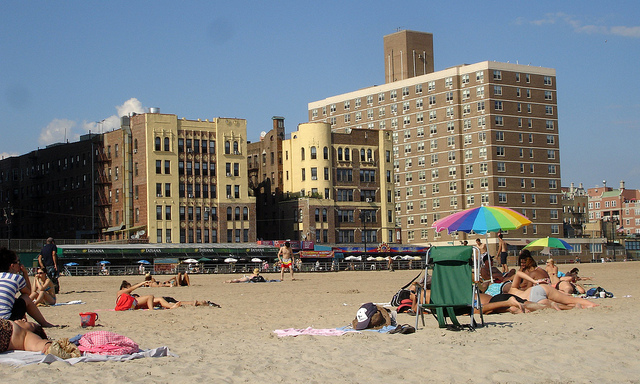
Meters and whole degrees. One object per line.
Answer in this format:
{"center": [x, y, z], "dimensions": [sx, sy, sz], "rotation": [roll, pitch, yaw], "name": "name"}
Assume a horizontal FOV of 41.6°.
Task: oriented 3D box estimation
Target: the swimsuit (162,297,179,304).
{"center": [-6.110, 4.406, 34.477], "dimensions": [0.476, 0.247, 1.069], "rotation": [-2, -7, -6], "name": "swimsuit"}

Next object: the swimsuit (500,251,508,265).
{"center": [9.162, 3.276, 41.940], "dimensions": [0.296, 0.653, 0.597], "rotation": [-4, -7, 8], "name": "swimsuit"}

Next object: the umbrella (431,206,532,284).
{"center": [7.739, 2.278, 39.252], "dimensions": [3.875, 3.249, 3.897], "rotation": [-10, 13, -32], "name": "umbrella"}

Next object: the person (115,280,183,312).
{"center": [-7.103, 4.244, 33.884], "dimensions": [1.767, 0.917, 1.398], "rotation": [1, -4, -13], "name": "person"}

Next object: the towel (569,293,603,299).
{"center": [10.690, 4.146, 33.622], "dimensions": [0.919, 0.226, 1.531], "rotation": [-1, -7, -14], "name": "towel"}

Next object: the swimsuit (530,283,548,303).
{"center": [7.893, 3.648, 30.533], "dimensions": [0.729, 0.875, 0.491], "rotation": [-2, -5, 29], "name": "swimsuit"}

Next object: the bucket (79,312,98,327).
{"center": [-8.036, 4.415, 29.301], "dimensions": [0.509, 0.342, 0.404], "rotation": [1, -7, -3], "name": "bucket"}

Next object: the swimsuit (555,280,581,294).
{"center": [9.888, 3.810, 33.602], "dimensions": [0.633, 0.554, 2.563], "rotation": [-6, -8, 23], "name": "swimsuit"}

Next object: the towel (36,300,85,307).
{"center": [-10.928, 4.770, 36.052], "dimensions": [1.056, 0.182, 2.713], "rotation": [-4, -7, 8], "name": "towel"}

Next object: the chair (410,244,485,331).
{"center": [4.294, 3.257, 28.205], "dimensions": [2.077, 2.593, 2.831], "rotation": [0, 8, 25], "name": "chair"}

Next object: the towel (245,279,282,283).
{"center": [-3.386, 5.610, 52.834], "dimensions": [1.638, 0.205, 2.877], "rotation": [-4, -7, 7], "name": "towel"}

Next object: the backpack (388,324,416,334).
{"center": [2.825, 4.604, 28.272], "dimensions": [0.566, 0.171, 0.351], "rotation": [-4, 3, -6], "name": "backpack"}
